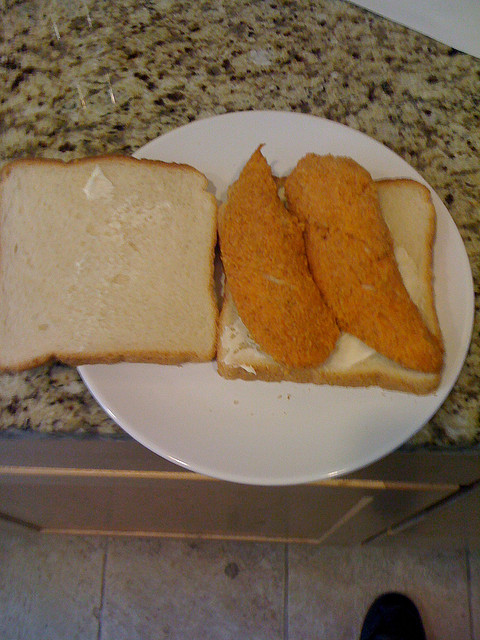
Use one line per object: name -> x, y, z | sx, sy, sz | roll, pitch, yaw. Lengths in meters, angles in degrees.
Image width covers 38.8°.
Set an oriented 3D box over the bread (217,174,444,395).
bread -> 0.125, -0.056, 0.932 | 0.308, 0.076, 0.310 | 1, 77, -1
